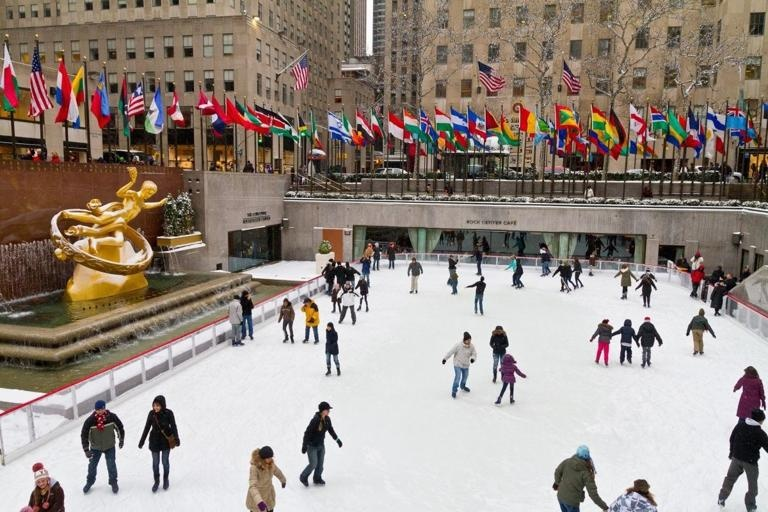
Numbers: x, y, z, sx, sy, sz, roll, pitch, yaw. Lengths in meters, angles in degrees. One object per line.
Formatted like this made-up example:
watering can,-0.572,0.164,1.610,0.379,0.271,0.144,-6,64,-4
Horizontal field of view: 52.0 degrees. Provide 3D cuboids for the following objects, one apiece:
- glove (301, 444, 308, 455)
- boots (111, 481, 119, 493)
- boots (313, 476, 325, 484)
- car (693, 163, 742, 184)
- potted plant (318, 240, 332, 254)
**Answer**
glove,-3.253,7.837,31.746,0.070,0.314,0.305,5,-2,29
boots,-10.925,9.365,31.888,0.306,0.448,0.236,-1,7,-14
boots,-2.705,9.213,32.390,0.401,0.463,0.213,0,4,-2
car,24.997,-6.037,59.429,3.138,1.392,8.423,4,8,22
potted plant,-4.011,-0.554,52.527,0.819,0.944,0.877,1,-6,-2
